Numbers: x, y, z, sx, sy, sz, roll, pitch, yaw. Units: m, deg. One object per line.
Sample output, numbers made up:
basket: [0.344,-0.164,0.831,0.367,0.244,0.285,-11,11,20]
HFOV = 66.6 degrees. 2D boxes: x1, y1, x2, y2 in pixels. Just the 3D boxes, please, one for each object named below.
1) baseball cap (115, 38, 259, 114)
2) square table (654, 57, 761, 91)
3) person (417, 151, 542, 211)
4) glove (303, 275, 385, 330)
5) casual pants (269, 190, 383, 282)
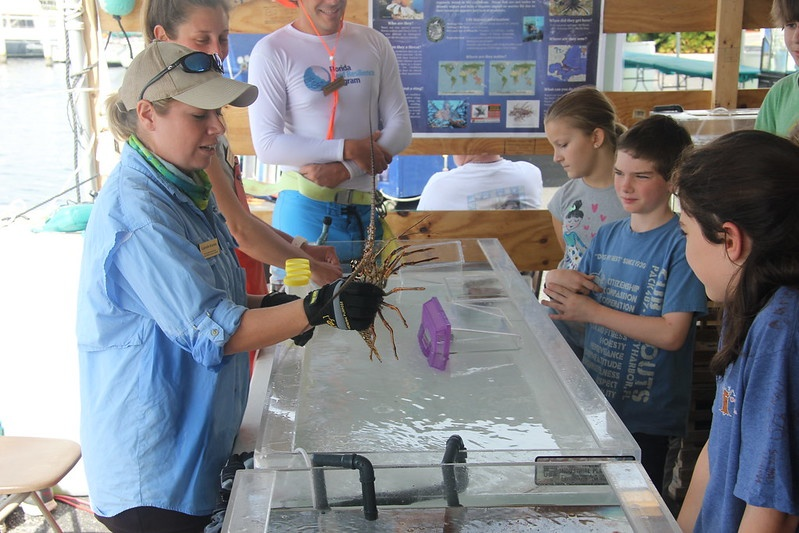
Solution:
baseball cap: [-0.603,-0.552,1.770,0.359,0.144,0.220,6,20,8]
square table: [3.736,-2.404,7.367,1.111,0.389,0.751,4,13,19]
person: [0.600,-0.554,4.111,0.537,0.191,0.596,-3,21,3]
glove: [-0.162,0.104,1.774,0.218,0.082,0.148,-6,0,-5]
casual pants: [-0.321,-0.131,2.631,0.419,0.322,0.210,15,14,-21]
